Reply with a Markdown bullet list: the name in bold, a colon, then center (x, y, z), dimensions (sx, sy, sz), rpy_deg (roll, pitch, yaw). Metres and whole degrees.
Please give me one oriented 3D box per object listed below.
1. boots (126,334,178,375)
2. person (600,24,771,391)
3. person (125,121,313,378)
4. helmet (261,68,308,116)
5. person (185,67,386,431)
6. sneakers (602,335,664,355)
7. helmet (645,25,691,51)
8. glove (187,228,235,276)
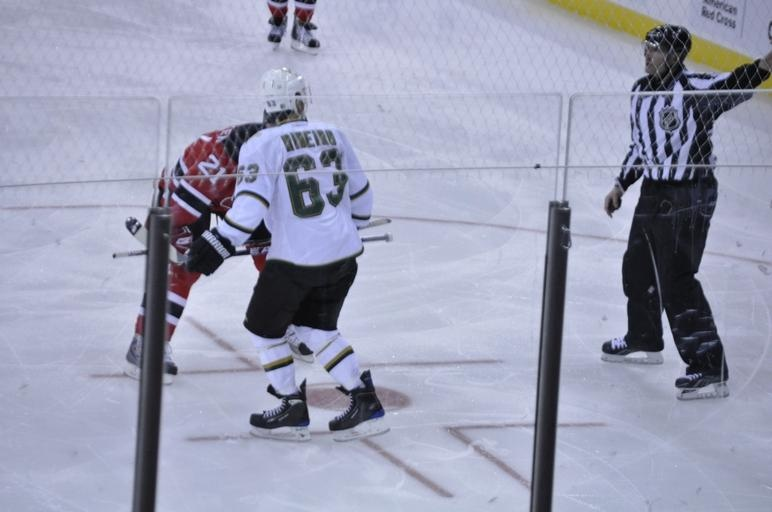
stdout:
- **boots**: center (-1.296, 0.552, 5.590), dimensions (0.332, 0.219, 0.114), rpy_deg (2, -3, 45)
- **person**: center (1.574, -0.261, 5.573), dimensions (0.745, 1.982, 0.928), rpy_deg (4, 11, 11)
- **person**: center (-0.853, 0.006, 5.370), dimensions (0.825, 1.272, 1.006), rpy_deg (30, 35, 25)
- **helmet**: center (-0.504, -0.867, 5.360), dimensions (0.259, 0.230, 0.216), rpy_deg (-8, 18, -18)
- **person**: center (-0.456, -0.003, 5.152), dimensions (0.955, 1.837, 0.678), rpy_deg (0, 11, -10)
- **sneakers**: center (1.370, 0.508, 5.705), dimensions (0.281, 0.147, 0.108), rpy_deg (3, 8, 21)
- **helmet**: center (1.623, -1.274, 5.885), dimensions (0.207, 0.110, 0.157), rpy_deg (4, 4, -19)
- **glove**: center (-0.862, -0.009, 5.117), dimensions (0.253, 0.191, 0.116), rpy_deg (-38, -12, -7)
